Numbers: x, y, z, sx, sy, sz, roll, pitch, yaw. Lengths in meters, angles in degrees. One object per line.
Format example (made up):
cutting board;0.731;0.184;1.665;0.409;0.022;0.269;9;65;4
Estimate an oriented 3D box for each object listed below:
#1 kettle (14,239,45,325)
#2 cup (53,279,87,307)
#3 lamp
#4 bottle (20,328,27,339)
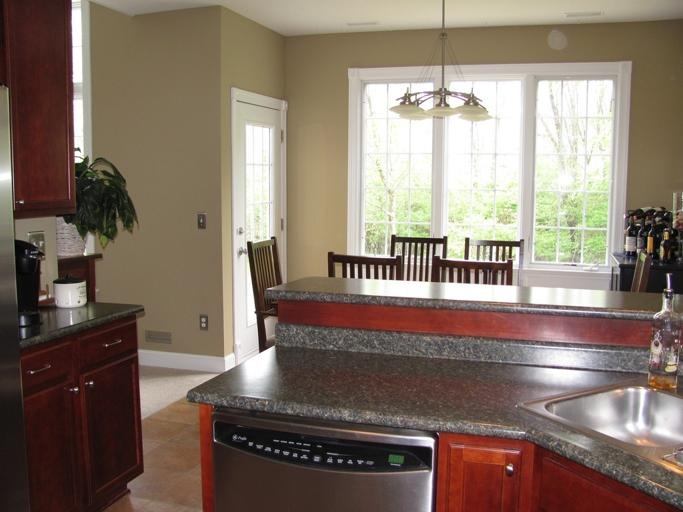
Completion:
kettle;-1.596;0.116;2.717;0.150;0.402;0.287;-11;16;-30
cup;-1.511;0.195;3.000;0.151;0.165;0.151;1;4;0
lamp;0.880;-1.616;4.408;0.619;0.964;2.671;1;14;13
bottle;-1.507;0.367;2.511;0.031;0.062;0.032;1;2;0
